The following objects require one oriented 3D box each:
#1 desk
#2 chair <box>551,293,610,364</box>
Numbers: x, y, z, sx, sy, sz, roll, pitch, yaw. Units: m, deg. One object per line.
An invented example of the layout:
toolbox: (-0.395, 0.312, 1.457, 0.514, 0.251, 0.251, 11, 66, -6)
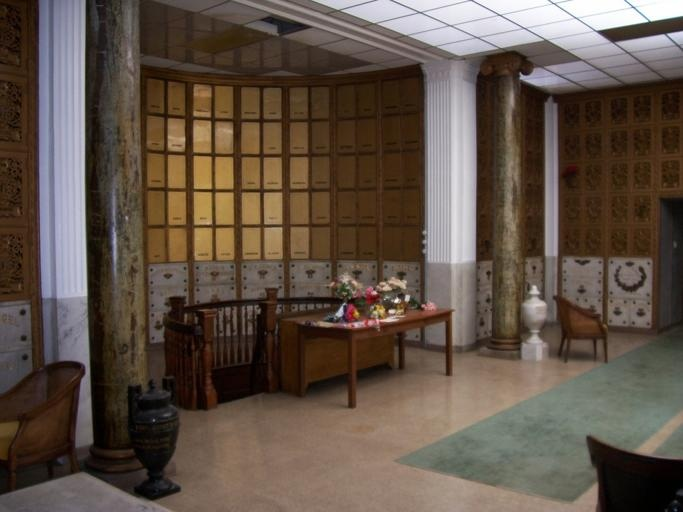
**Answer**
desk: (0.307, 1.298, 7.441, 2.072, 1.054, 1.267, -3, 5, -38)
chair: (4.050, 1.148, 9.235, 1.053, 1.360, 1.094, -1, 1, 15)
